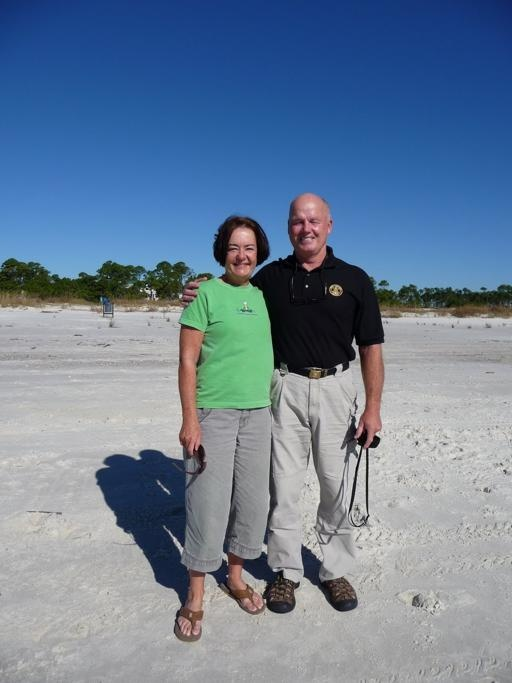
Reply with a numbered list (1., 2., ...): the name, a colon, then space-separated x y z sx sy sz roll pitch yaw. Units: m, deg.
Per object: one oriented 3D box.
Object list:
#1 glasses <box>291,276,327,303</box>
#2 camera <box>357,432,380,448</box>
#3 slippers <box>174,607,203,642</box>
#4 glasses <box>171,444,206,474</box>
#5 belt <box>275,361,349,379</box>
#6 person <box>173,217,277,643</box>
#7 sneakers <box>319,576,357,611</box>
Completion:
1. glasses: 0.300 -0.291 3.353 0.167 0.163 0.050 0 1 4
2. camera: 0.681 0.586 3.417 0.141 0.076 0.059 -3 6 -8
3. slippers: -0.350 1.434 2.972 0.146 0.086 0.251 0 8 -5
4. glasses: -0.344 0.613 3.011 0.123 0.121 0.166 -9 11 13
5. belt: 0.350 0.166 3.385 0.456 0.081 0.166 -1 8 -12
6. person: -0.163 0.414 3.081 0.488 2.160 0.746 1 8 1
7. sneakers: 0.469 1.426 3.289 0.140 0.097 0.316 -1 8 -15
